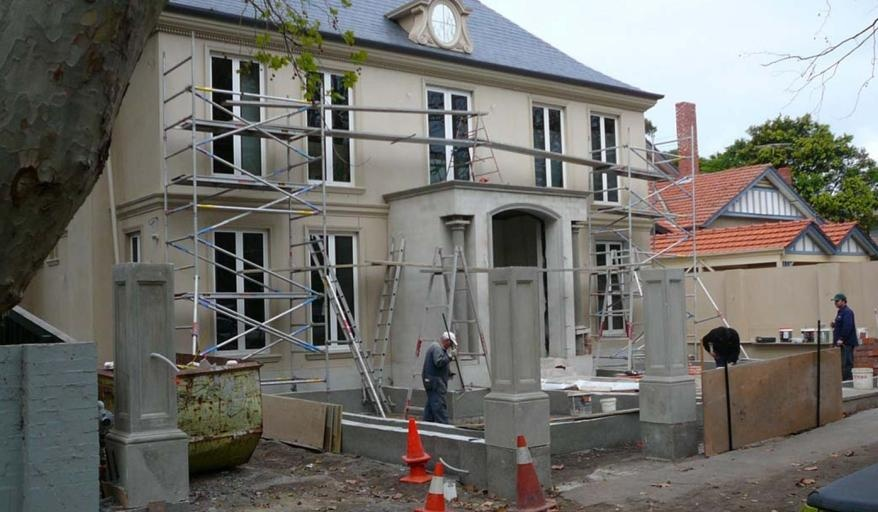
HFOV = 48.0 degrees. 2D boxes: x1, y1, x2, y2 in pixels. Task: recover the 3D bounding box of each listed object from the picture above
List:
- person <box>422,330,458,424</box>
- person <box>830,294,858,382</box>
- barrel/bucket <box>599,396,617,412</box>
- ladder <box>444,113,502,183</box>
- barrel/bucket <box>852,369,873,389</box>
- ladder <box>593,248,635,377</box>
[{"bbox_3d":[-0.031,2.567,21.331,0.747,1.903,0.745,3,-1,-16],"label":"person"},{"bbox_3d":[9.443,1.926,23.007,0.699,2.133,0.809,-1,-3,22],"label":"person"},{"bbox_3d":[3.677,3.172,21.407,0.281,0.300,0.473,-5,-6,43],"label":"barrel/bucket"},{"bbox_3d":[0.968,-2.695,26.153,1.030,2.187,0.986,3,0,-40],"label":"ladder"},{"bbox_3d":[9.846,2.798,22.908,0.461,0.411,0.457,1,-5,0],"label":"barrel/bucket"},{"bbox_3d":[4.849,1.639,27.498,1.371,3.636,1.218,-1,-2,-2],"label":"ladder"}]
